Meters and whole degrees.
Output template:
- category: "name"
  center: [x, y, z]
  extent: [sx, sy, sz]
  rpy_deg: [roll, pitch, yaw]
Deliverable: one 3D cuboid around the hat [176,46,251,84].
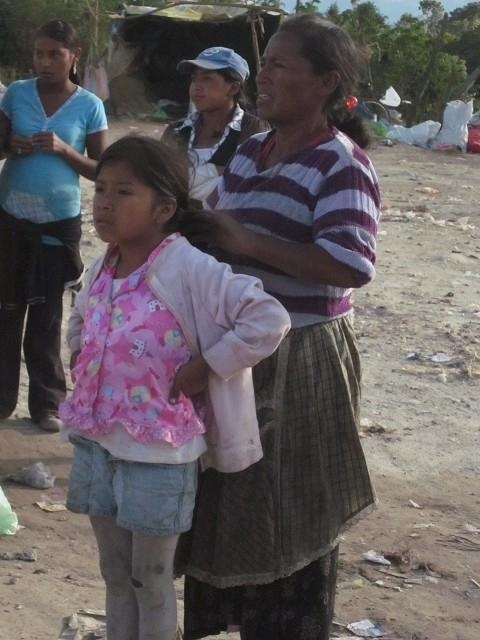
- category: "hat"
  center: [-0.071, -1.197, 3.659]
  extent: [0.303, 0.107, 0.189]
  rpy_deg: [9, 0, -34]
